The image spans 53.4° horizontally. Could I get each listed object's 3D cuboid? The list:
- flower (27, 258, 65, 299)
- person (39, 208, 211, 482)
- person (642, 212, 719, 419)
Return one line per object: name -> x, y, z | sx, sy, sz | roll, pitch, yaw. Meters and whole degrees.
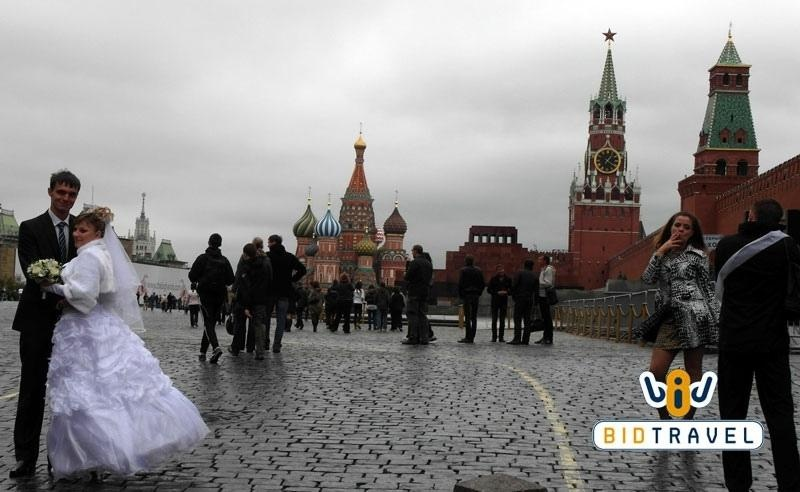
flower -> -3.027, 0.268, 6.789 | 0.304, 0.285, 0.296 | -1, -9, 14
person -> -2.400, 0.787, 6.756 | 1.212, 1.772, 0.853 | 2, -2, 32
person -> 2.691, 0.485, 7.676 | 0.709, 1.648, 0.563 | 3, -2, 16
